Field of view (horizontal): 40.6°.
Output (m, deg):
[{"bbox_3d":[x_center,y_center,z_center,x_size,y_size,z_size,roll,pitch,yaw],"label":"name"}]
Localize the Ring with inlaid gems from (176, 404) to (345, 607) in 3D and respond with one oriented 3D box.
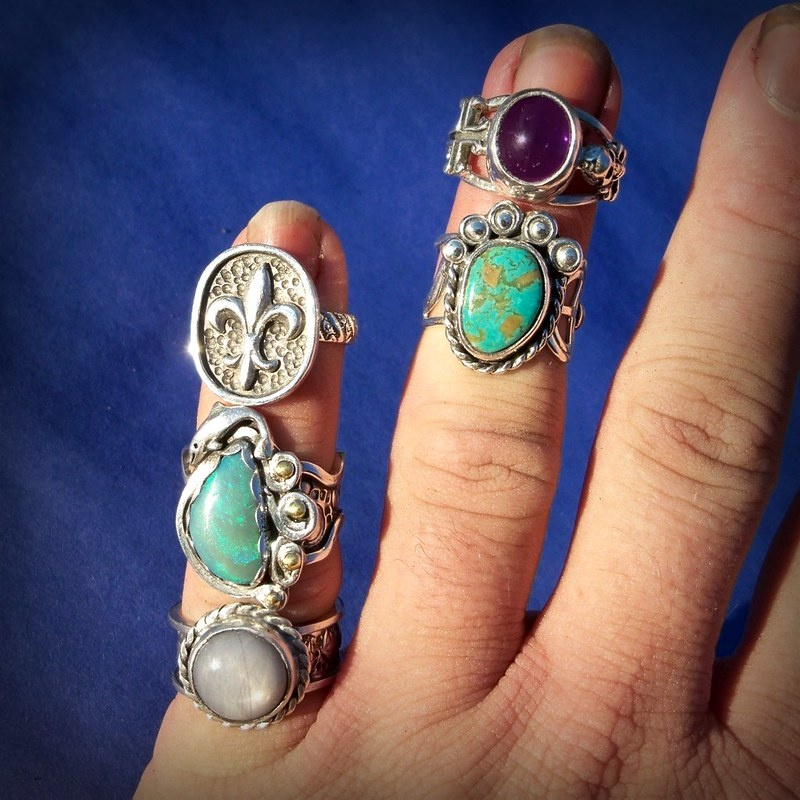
[{"bbox_3d":[-0.298,0.215,2.171,0.250,0.454,0.187,0,-3,37],"label":"Ring with inlaid gems"}]
